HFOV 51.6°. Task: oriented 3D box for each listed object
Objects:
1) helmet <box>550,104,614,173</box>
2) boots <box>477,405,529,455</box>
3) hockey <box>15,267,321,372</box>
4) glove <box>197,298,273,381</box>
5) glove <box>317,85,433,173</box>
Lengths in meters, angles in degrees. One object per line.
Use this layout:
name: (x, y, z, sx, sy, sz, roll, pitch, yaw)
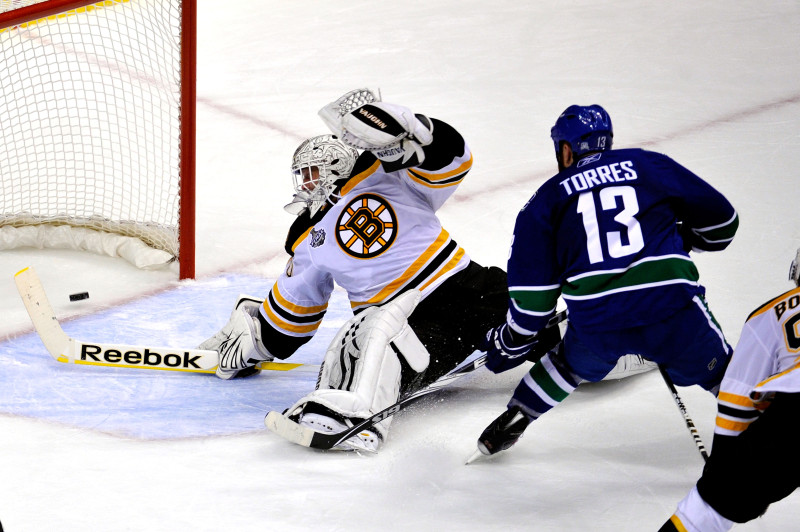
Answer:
helmet: (0.772, -0.527, 3.413, 0.238, 0.256, 0.278, -17, 14, -31)
boots: (0.449, 0.684, 3.508, 0.126, 0.263, 0.085, 54, -10, 4)
hockey: (-1.383, 0.321, 4.469, 0.021, 0.450, 1.587, -10, -12, 27)
glove: (-0.772, 0.359, 4.020, 0.434, 0.381, 0.181, -21, -40, 26)
glove: (-0.154, -0.607, 3.789, 0.238, 0.354, 0.537, 11, -10, 18)
